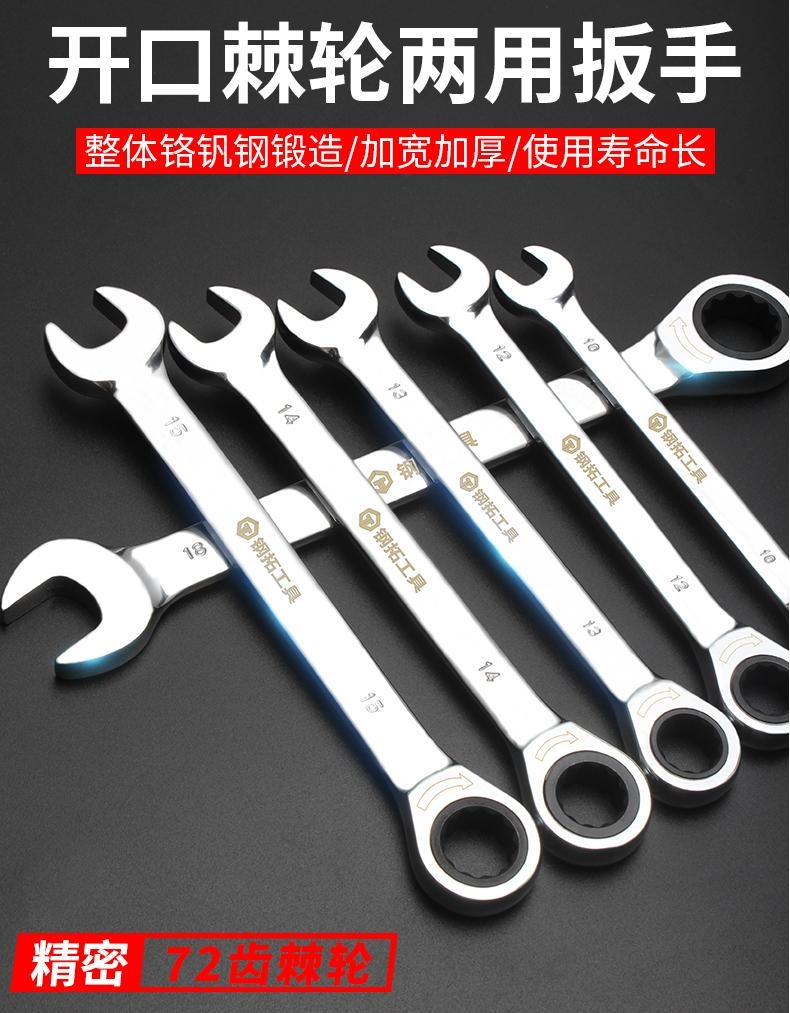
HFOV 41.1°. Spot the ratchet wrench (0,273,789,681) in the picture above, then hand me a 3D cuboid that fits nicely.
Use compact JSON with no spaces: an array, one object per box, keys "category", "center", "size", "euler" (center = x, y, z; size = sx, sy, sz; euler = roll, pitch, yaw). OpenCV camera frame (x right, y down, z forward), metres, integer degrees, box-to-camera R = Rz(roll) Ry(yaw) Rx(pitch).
[{"category":"ratchet wrench","center":[-0.012,-0.025,1.424],"size":[0.807,0.038,0.143],"euler":[-23,63,-23]}]
